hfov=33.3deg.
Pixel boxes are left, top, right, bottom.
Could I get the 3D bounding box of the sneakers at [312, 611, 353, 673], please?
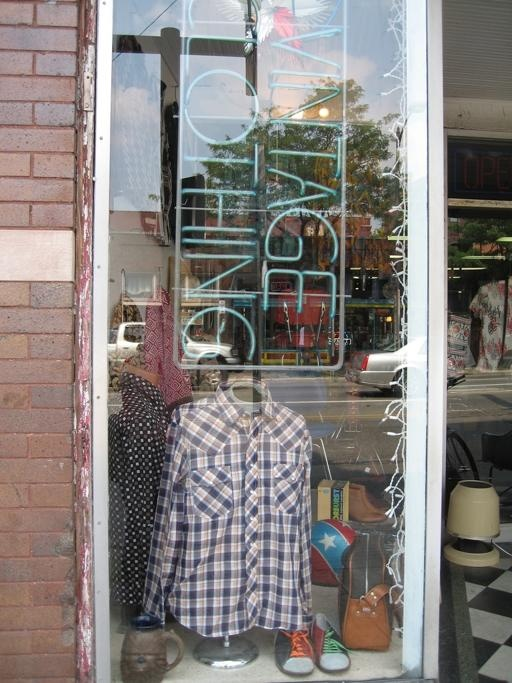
[{"bbox_3d":[0.211,0.919,2.620,0.096,0.185,0.073,-7,-42,-23],"label":"sneakers"}]
